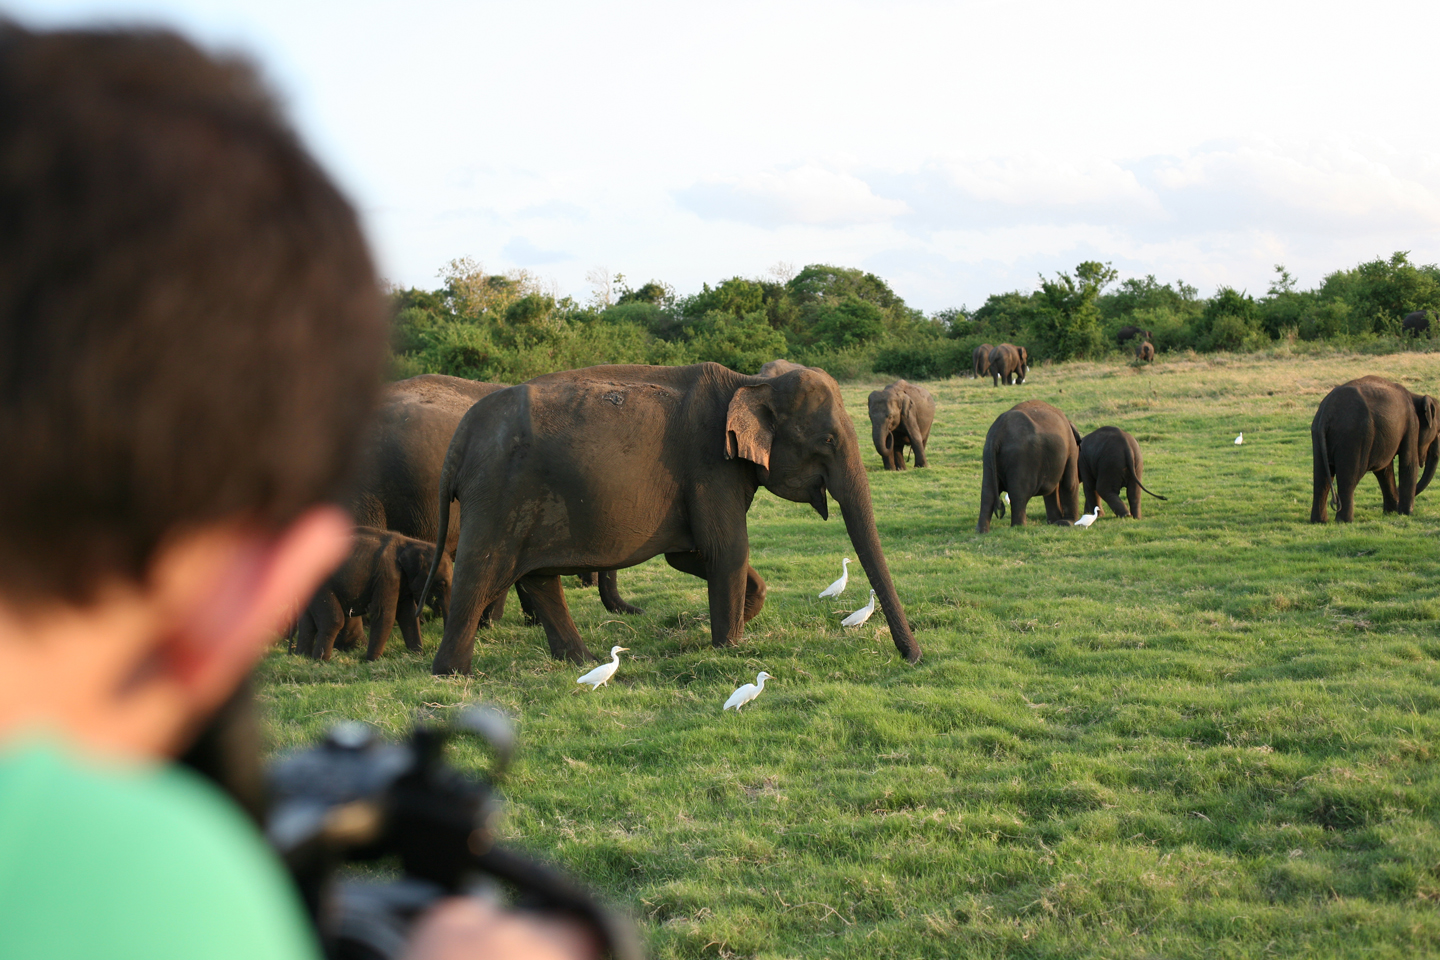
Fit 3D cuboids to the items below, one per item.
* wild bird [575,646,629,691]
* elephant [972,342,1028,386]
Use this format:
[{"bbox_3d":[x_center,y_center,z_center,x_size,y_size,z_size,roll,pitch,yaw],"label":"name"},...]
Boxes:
[{"bbox_3d":[-0.667,1.076,8.740,0.311,0.259,0.135,-16,25,-9],"label":"wild bird"},{"bbox_3d":[7.389,-3.051,40.989,1.064,1.189,2.417,0,0,3],"label":"elephant"}]
